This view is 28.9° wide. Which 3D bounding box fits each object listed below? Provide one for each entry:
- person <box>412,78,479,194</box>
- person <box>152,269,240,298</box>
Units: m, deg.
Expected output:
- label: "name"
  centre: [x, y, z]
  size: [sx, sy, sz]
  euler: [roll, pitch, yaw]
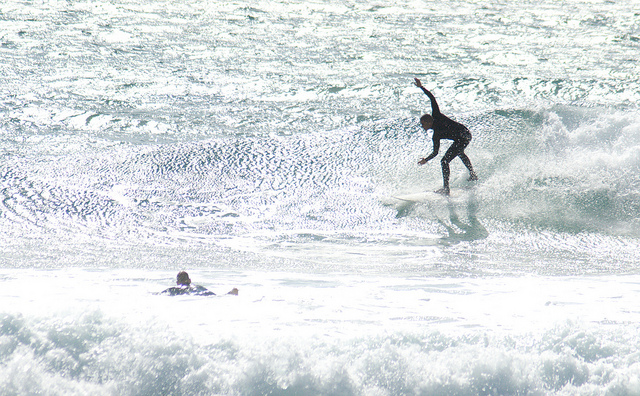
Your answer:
- label: "person"
  centre: [3.002, -1.283, 29.006]
  size: [1.356, 2.424, 0.496]
  euler: [-4, 13, -5]
- label: "person"
  centre: [-2.599, 1.811, 25.737]
  size: [1.766, 0.469, 0.591]
  euler: [-2, 10, -3]
